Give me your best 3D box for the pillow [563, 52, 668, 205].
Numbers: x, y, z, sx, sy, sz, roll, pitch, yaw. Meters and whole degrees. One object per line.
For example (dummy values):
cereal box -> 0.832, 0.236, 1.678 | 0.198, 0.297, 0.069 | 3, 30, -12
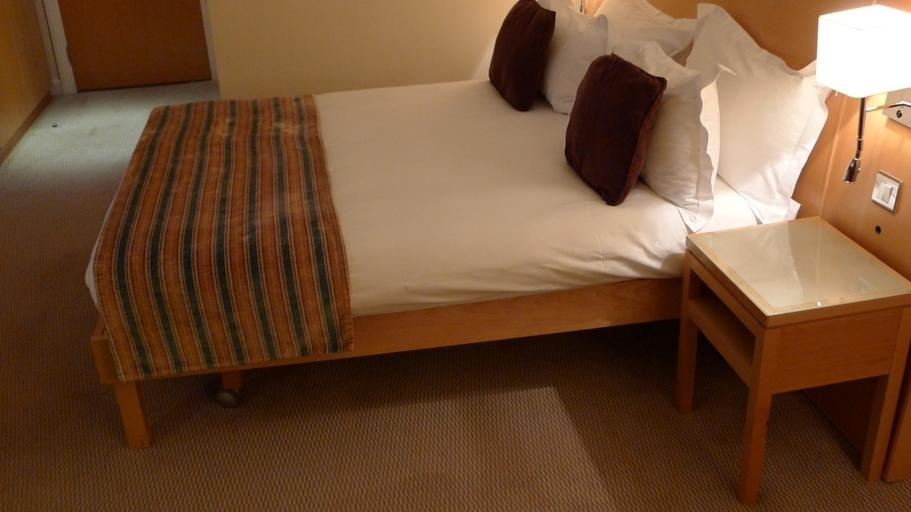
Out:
pillow -> 0.822, -0.624, 3.316 | 0.351, 0.508, 0.646 | -15, 34, -8

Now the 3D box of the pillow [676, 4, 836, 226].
pillow -> 1.489, -0.648, 3.217 | 0.253, 0.735, 0.940 | 6, 29, -35
